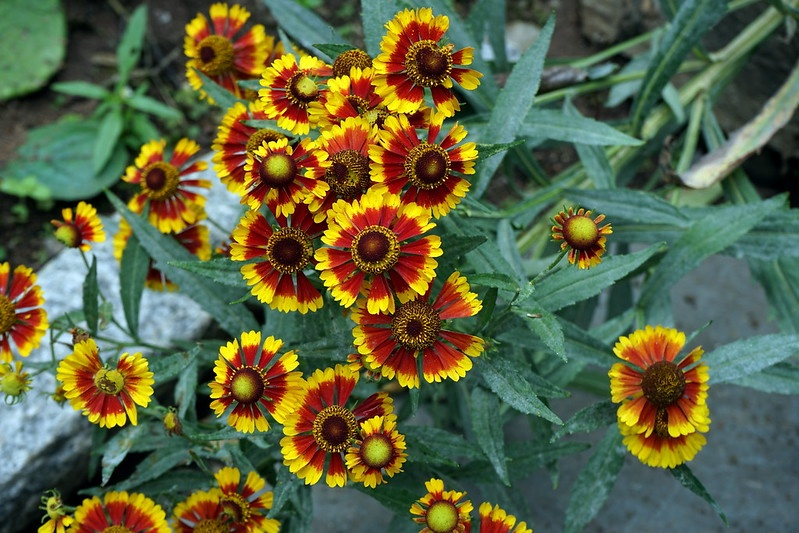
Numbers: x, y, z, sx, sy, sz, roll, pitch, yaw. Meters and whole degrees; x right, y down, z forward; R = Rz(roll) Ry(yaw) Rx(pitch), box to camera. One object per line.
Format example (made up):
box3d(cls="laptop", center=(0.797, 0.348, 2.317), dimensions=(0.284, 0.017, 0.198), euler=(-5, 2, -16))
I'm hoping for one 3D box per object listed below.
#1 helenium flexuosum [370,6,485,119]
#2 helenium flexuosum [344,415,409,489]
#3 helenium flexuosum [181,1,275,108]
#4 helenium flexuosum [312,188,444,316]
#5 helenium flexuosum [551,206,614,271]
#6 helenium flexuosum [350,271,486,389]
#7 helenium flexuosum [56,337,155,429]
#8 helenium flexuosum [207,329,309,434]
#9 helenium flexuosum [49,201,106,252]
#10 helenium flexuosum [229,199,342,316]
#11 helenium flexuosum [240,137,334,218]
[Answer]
box3d(cls="helenium flexuosum", center=(0.064, -0.560, 2.121), dimensions=(0.294, 0.086, 0.310), euler=(-32, 99, -19))
box3d(cls="helenium flexuosum", center=(-0.069, 0.500, 2.100), dimensions=(0.201, 0.073, 0.203), euler=(-10, 49, 0))
box3d(cls="helenium flexuosum", center=(-0.546, -0.701, 2.468), dimensions=(0.269, 0.166, 0.353), euler=(-4, 82, 0))
box3d(cls="helenium flexuosum", center=(-0.057, -0.037, 2.052), dimensions=(0.323, 0.055, 0.327), euler=(19, 82, 2))
box3d(cls="helenium flexuosum", center=(0.498, -0.087, 2.097), dimensions=(0.160, 0.058, 0.172), euler=(-15, 76, -18))
box3d(cls="helenium flexuosum", center=(0.042, 0.149, 2.085), dimensions=(0.384, 0.403, 0.105), euler=(11, 28, -16))
box3d(cls="helenium flexuosum", center=(-0.825, 0.306, 2.161), dimensions=(0.225, 0.203, 0.092), euler=(3, 100, -34))
box3d(cls="helenium flexuosum", center=(-0.413, 0.326, 2.202), dimensions=(0.254, 0.078, 0.287), euler=(-17, 83, 3))
box3d(cls="helenium flexuosum", center=(-1.003, -0.136, 2.327), dimensions=(0.160, 0.161, 0.073), euler=(-13, 86, -13))
box3d(cls="helenium flexuosum", center=(-0.301, -0.034, 2.178), dimensions=(0.400, 0.413, 0.111), euler=(7, 60, -20))
box3d(cls="helenium flexuosum", center=(-0.337, -0.251, 2.118), dimensions=(0.254, 0.274, 0.082), euler=(-18, 63, 13))
